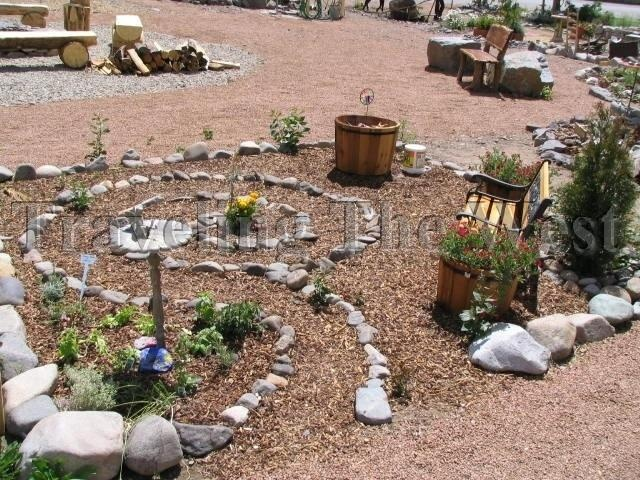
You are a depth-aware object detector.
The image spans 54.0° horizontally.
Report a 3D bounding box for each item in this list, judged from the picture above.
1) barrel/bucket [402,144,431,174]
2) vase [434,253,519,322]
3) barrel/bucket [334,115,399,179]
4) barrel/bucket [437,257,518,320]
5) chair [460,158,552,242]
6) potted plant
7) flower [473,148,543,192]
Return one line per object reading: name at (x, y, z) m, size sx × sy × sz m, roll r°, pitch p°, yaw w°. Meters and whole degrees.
barrel/bucket at (1.348, -1.180, 8.912) m, size 0.412 × 0.472 × 0.417 m, roll -2°, pitch 17°, yaw 1°
vase at (1.483, 0.408, 5.920) m, size 0.594 × 0.460 × 0.610 m, roll 20°, pitch 14°, yaw 12°
barrel/bucket at (0.529, -1.336, 8.714) m, size 0.867 × 0.710 × 0.923 m, roll 3°, pitch 20°, yaw -1°
barrel/bucket at (1.471, 0.430, 5.921) m, size 0.588 × 0.461 × 0.605 m, roll 15°, pitch 10°, yaw -3°
chair at (2.065, -0.418, 6.913) m, size 0.595 × 0.814 × 0.599 m, roll 16°, pitch 62°, yaw 12°
potted plant at (0.659, -1.530, 8.720) m, size 0.823 × 1.111 × 1.090 m, roll 3°, pitch 17°, yaw -5°
flower at (2.254, -0.876, 7.608) m, size 0.691 × 0.352 × 0.703 m, roll 21°, pitch 33°, yaw 29°
